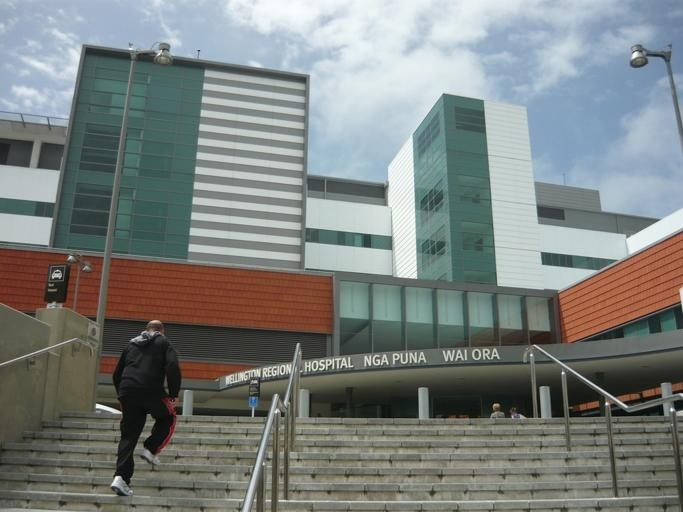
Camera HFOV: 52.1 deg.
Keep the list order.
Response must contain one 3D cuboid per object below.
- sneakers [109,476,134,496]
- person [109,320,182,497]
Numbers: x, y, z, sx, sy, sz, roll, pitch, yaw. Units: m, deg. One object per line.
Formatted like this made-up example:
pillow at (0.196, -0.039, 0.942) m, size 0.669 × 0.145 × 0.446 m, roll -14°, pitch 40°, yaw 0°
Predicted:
sneakers at (-2.784, 2.900, 8.784) m, size 0.239 × 0.251 × 0.223 m, roll 3°, pitch -14°, yaw -7°
person at (-2.652, 1.980, 9.304) m, size 0.827 × 2.268 × 0.675 m, roll 6°, pitch -15°, yaw -18°
